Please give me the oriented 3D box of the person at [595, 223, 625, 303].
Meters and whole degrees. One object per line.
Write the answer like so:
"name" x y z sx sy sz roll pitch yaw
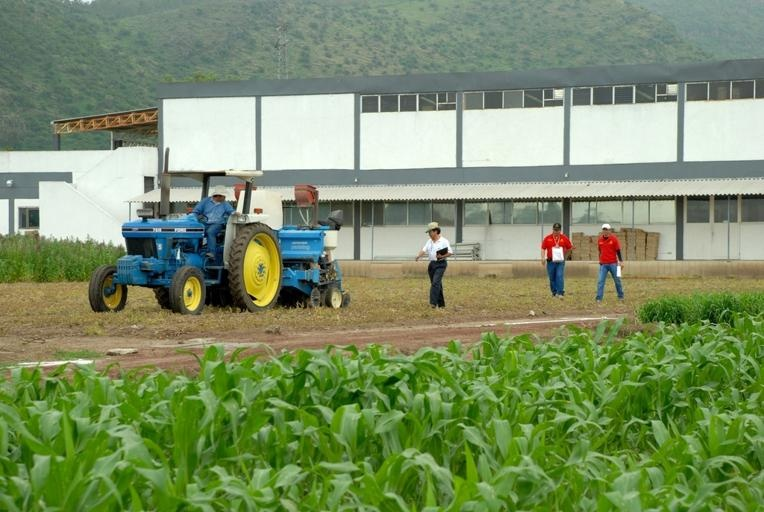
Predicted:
"person" 10.716 0.267 51.047 1.022 3.737 1.285 -3 -3 28

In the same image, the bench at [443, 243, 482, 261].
"bench" 5.235 -0.339 65.799 1.587 1.499 0.897 1 -4 4

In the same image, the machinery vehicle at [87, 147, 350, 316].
"machinery vehicle" -6.886 -1.062 49.410 6.257 7.112 12.496 0 1 -22
